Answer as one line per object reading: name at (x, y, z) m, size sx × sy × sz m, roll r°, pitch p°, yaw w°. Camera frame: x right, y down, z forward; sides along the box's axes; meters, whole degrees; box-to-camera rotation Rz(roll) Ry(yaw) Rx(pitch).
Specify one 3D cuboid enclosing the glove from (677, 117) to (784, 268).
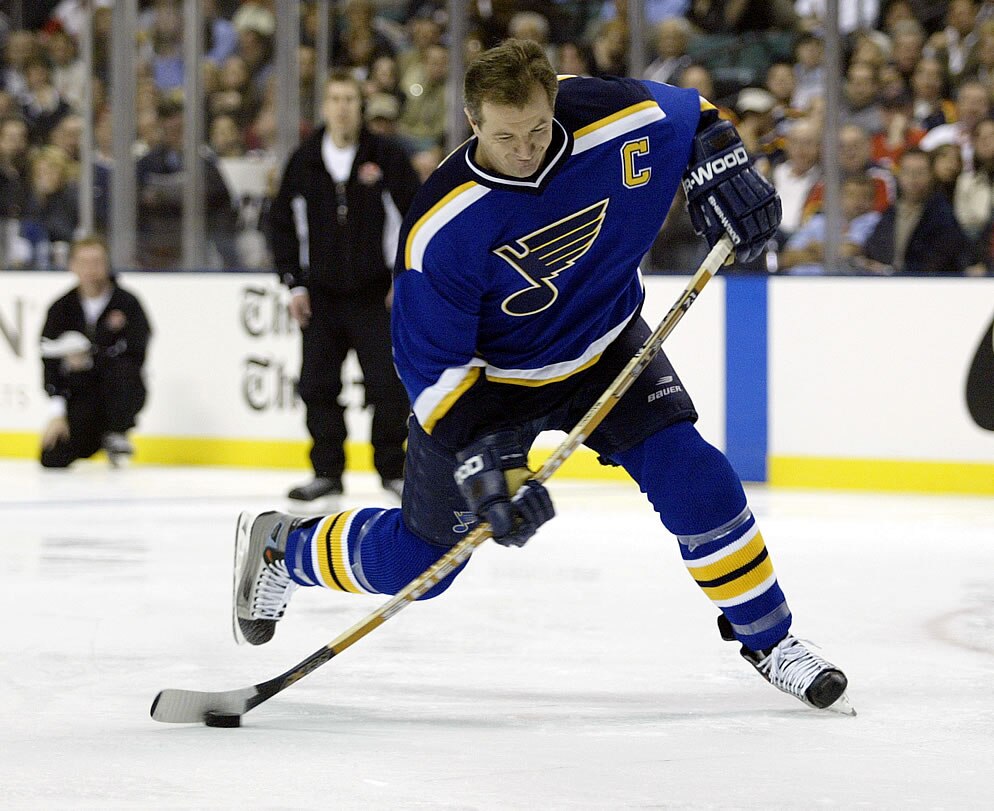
glove at (0.474, -0.439, 3.150) m, size 0.174 × 0.305 × 0.125 m, roll -30°, pitch 14°, yaw 6°

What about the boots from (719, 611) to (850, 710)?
boots at (0.586, 0.527, 3.050) m, size 0.094 × 0.105 × 0.242 m, roll -45°, pitch 24°, yaw -4°

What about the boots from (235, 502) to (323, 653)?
boots at (-0.493, 0.371, 3.318) m, size 0.115 × 0.346 × 0.193 m, roll -2°, pitch 8°, yaw -39°

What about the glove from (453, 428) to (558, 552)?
glove at (-0.001, 0.180, 3.025) m, size 0.227 × 0.114 × 0.178 m, roll 35°, pitch 67°, yaw 16°

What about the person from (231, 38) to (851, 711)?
person at (0.386, -0.198, 3.180) m, size 0.825 × 1.302 × 1.399 m, roll -13°, pitch 9°, yaw -37°

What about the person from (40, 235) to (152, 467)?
person at (-1.838, -0.246, 6.889) m, size 0.496 × 1.069 × 0.229 m, roll -2°, pitch 6°, yaw -13°
